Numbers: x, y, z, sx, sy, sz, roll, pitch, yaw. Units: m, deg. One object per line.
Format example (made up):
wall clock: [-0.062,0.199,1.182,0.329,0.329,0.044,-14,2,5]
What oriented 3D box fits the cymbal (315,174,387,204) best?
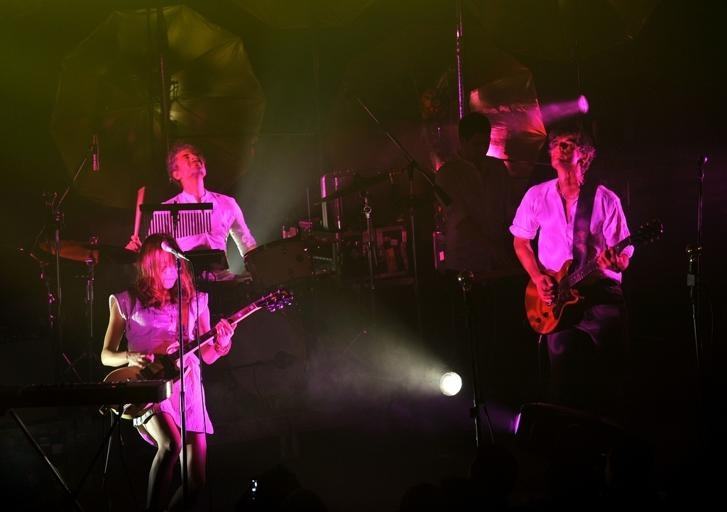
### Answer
cymbal: [-0.117,-0.738,6.919,0.697,0.252,0.057,-24,-26,10]

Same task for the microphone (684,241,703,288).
microphone: [3.357,0.111,6.449,0.123,0.422,0.215,0,-8,-30]

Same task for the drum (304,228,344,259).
drum: [-0.441,-0.139,6.845,0.322,0.335,0.208,-1,2,10]

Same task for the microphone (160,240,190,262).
microphone: [-1.689,-0.042,5.588,0.252,0.076,0.076,41,-19,-18]

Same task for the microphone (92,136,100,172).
microphone: [-2.770,-1.060,6.508,0.067,0.352,0.130,0,-8,-25]

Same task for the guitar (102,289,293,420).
guitar: [-1.554,0.878,5.748,1.684,1.081,1.063,1,-9,-35]

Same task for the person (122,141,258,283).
person: [-1.822,-0.430,6.387,1.253,1.729,0.954,3,-14,-33]

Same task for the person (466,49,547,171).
person: [1.479,-1.563,6.973,0.947,1.134,0.425,-5,-5,-39]

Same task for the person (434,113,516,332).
person: [1.194,-0.481,6.636,0.792,1.997,0.353,-5,-7,9]
